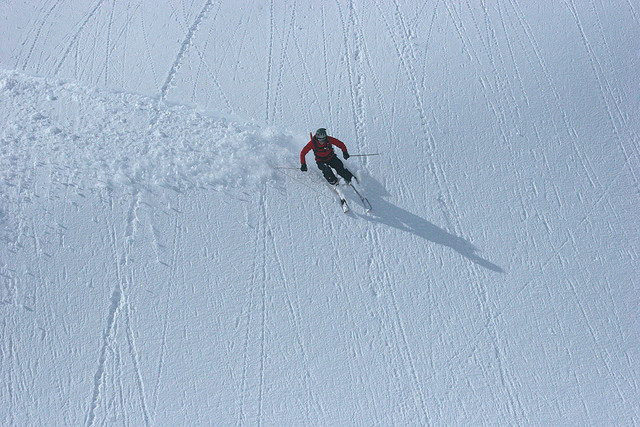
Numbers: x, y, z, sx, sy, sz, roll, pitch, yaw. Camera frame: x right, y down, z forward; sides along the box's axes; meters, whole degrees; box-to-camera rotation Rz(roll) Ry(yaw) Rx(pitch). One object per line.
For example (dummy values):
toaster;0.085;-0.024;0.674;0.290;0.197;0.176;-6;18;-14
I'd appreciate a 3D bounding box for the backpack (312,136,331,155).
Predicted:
backpack;0.023;-1.829;31.157;0.327;0.448;0.420;-30;113;-28

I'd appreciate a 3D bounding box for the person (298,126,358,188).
person;0.258;-1.402;31.558;1.319;2.096;0.744;-19;35;10

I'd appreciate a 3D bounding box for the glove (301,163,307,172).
glove;-0.448;-1.256;31.428;0.171;0.285;0.163;-2;95;-1

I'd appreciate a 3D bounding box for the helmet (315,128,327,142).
helmet;0.041;-2.092;30.900;0.262;0.294;0.333;-8;45;2
